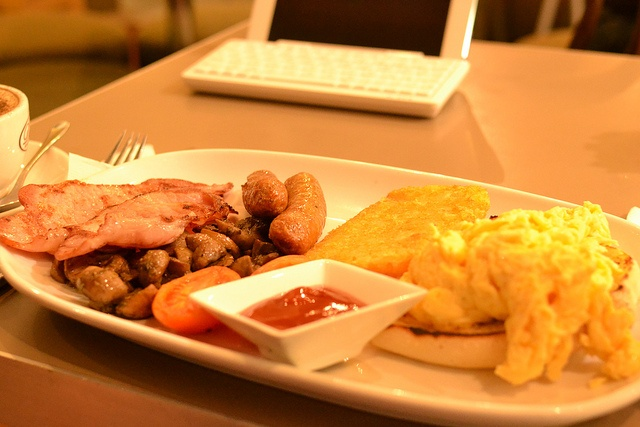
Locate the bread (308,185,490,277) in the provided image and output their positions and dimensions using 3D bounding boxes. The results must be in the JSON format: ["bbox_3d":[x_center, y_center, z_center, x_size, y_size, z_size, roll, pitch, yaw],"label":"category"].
[{"bbox_3d":[0.287,0.013,1.608,0.517,0.097,0.293,-30,27,-32],"label":"bread"}]

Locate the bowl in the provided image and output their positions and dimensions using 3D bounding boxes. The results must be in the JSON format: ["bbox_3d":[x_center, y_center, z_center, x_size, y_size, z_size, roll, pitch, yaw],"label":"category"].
[{"bbox_3d":[-0.012,0.245,1.236,0.337,0.114,0.368,-4,9,1],"label":"bowl"}]
